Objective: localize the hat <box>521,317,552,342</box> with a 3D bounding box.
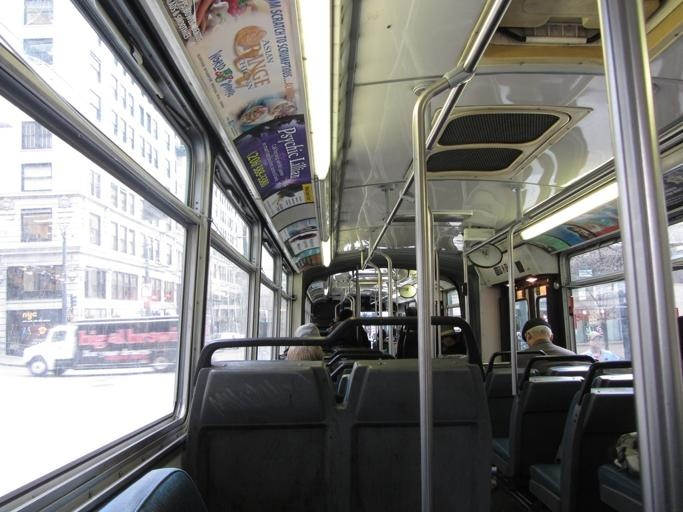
[{"bbox_3d":[2.291,0.888,5.499,0.293,0.314,0.346,2,-15,13],"label":"hat"}]
